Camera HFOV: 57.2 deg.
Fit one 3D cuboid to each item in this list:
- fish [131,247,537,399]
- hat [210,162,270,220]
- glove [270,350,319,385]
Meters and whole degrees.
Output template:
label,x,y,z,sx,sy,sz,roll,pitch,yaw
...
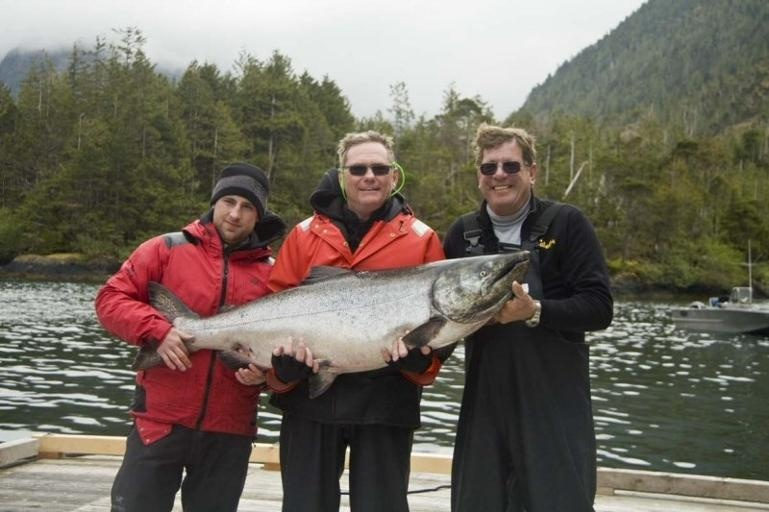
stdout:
label,x,y,z,sx,sy,sz,roll,pitch,yaw
fish,-0.478,0.899,9.779,4.839,2.152,0.310,2,-3,4
hat,-2.016,-1.038,10.340,0.822,0.645,0.827,31,-32,-24
glove,-1.234,1.505,9.760,0.537,0.194,0.398,37,-50,-9
